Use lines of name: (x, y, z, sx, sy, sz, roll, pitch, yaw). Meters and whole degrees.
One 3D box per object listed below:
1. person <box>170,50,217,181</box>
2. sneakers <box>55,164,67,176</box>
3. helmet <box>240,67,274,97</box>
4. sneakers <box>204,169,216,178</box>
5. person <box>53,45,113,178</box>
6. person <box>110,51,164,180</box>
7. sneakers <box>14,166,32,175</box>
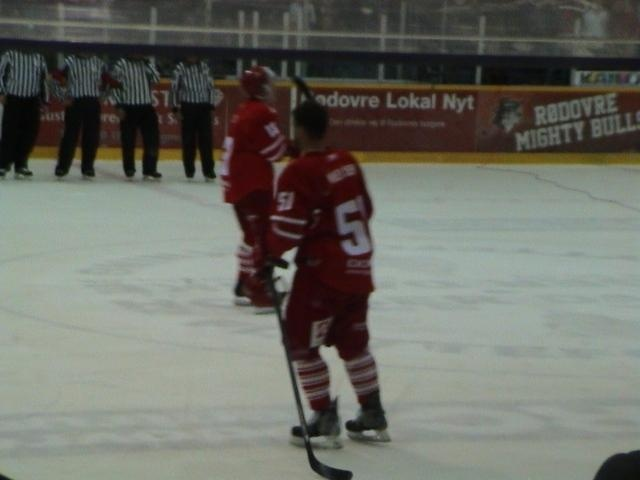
person: (-1.496, -1.410, 13.428, 0.458, 1.510, 0.527, 9, 18, 28)
sneakers: (-3.033, -0.816, 13.112, 0.132, 0.085, 0.124, 1, 1, -21)
helmet: (-0.415, -1.032, 7.358, 0.226, 0.190, 0.185, 0, 15, -3)
sneakers: (-1.339, -0.792, 13.581, 0.130, 0.101, 0.107, 3, 8, 38)
person: (-2.784, -1.413, 13.118, 0.707, 1.469, 0.490, -6, 17, -25)
person: (-2.178, -1.415, 13.284, 0.530, 1.436, 0.299, -1, 16, -7)
sneakers: (-3.481, -0.795, 13.080, 0.083, 0.086, 0.227, -11, 6, -43)
